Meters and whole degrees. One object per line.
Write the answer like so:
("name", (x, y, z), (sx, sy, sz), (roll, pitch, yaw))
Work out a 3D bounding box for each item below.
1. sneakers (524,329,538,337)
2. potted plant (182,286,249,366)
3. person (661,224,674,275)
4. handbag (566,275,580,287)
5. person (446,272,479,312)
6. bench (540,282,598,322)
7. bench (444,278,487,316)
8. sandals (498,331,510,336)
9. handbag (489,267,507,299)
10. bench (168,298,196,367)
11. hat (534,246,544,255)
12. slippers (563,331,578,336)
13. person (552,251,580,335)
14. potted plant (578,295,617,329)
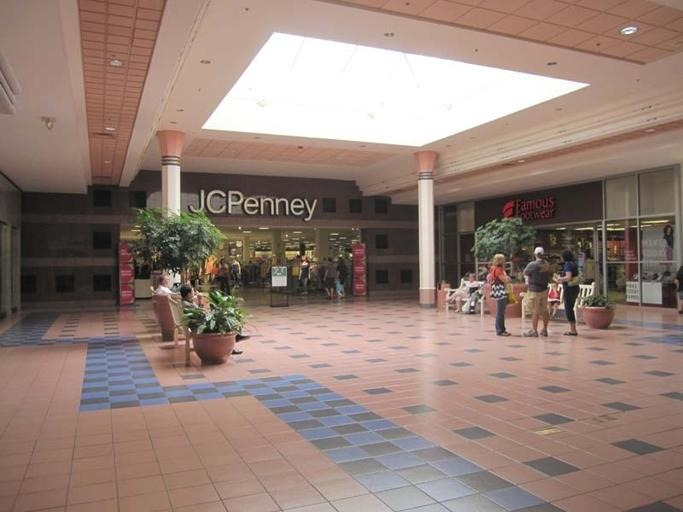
("sneakers", (4.279, 1.743, 9.754), (0.146, 0.133, 0.341), (-1, 2, -22))
("potted plant", (-2.402, 1.240, 7.551), (0.810, 0.857, 0.884), (-11, -4, -24))
("person", (11.278, -0.251, 14.773), (0.110, 1.325, 0.330), (-1, -1, -12))
("handbag", (5.313, 0.576, 9.783), (0.273, 0.163, 0.262), (-32, 15, -21))
("person", (4.539, 1.347, 16.036), (1.107, 1.671, 1.333), (4, -4, -20))
("bench", (5.726, 1.201, 10.855), (0.538, 0.787, 1.411), (0, 0, -9))
("bench", (4.273, 1.428, 14.722), (0.636, 0.814, 1.384), (2, -3, -11))
("sandals", (3.761, 1.787, 9.964), (0.214, 0.082, 0.119), (-6, -6, 44))
("handbag", (3.648, 0.647, 9.931), (0.355, 0.733, 0.305), (-2, -1, 20))
("bench", (-3.084, 1.470, 8.261), (0.467, 0.727, 1.167), (-2, 3, -20))
("hat", (5.479, -0.143, 11.902), (0.384, 0.253, 0.525), (1, -5, 20))
("slippers", (5.224, 1.732, 9.776), (0.264, 0.101, 0.320), (-1, -1, 20))
("person", (5.316, 0.826, 10.036), (0.443, 1.914, 0.863), (-2, -1, 26))
("potted plant", (6.538, 1.389, 10.835), (0.832, 0.768, 0.803), (5, -6, -12))
